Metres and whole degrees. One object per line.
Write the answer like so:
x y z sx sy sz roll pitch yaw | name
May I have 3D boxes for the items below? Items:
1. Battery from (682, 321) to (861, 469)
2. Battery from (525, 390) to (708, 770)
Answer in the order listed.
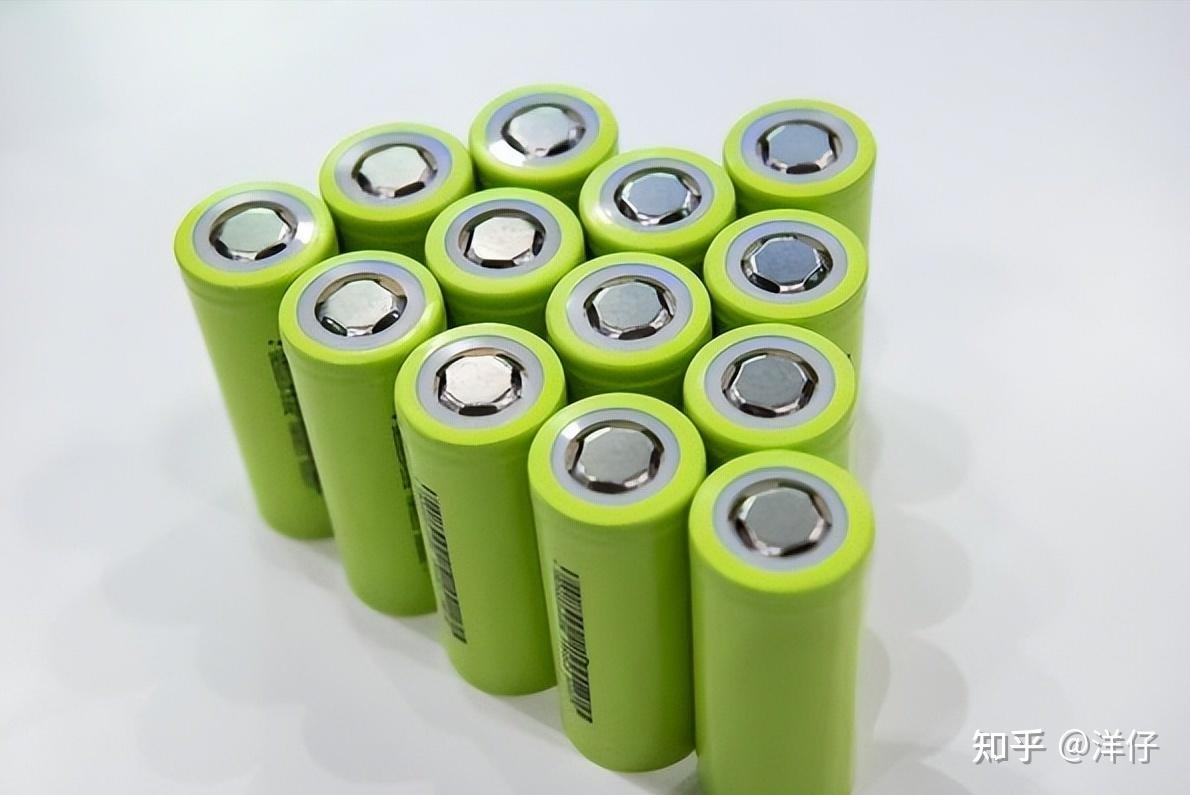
0.273 0.033 1.778 0.235 0.214 0.251 -7 -31 5 | Battery
0.039 0.317 1.718 0.254 0.648 0.308 -3 5 -2 | Battery
